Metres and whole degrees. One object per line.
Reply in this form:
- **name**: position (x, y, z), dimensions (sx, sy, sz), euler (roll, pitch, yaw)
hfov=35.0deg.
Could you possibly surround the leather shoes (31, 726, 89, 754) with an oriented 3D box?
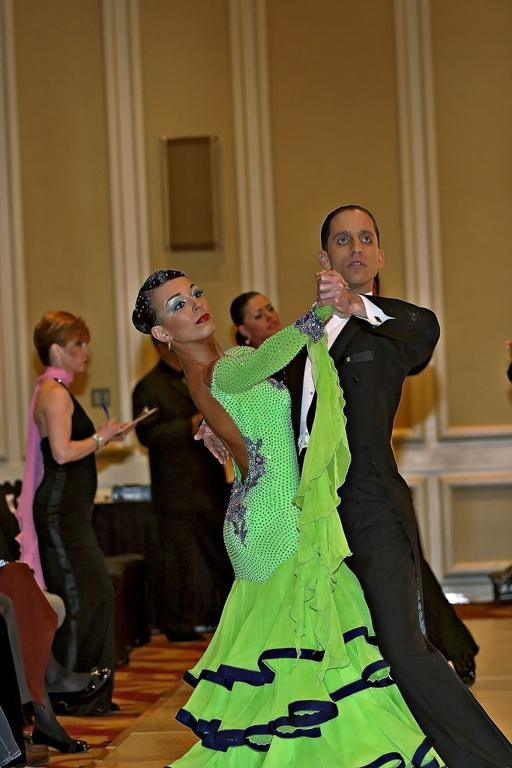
- **leather shoes**: position (-0.622, 1.154, 2.651), dimensions (0.218, 0.081, 0.068), euler (8, -2, -1)

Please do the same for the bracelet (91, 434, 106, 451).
- **bracelet**: position (-0.609, 0.233, 3.153), dimensions (0.046, 0.057, 0.058), euler (14, 20, 8)
